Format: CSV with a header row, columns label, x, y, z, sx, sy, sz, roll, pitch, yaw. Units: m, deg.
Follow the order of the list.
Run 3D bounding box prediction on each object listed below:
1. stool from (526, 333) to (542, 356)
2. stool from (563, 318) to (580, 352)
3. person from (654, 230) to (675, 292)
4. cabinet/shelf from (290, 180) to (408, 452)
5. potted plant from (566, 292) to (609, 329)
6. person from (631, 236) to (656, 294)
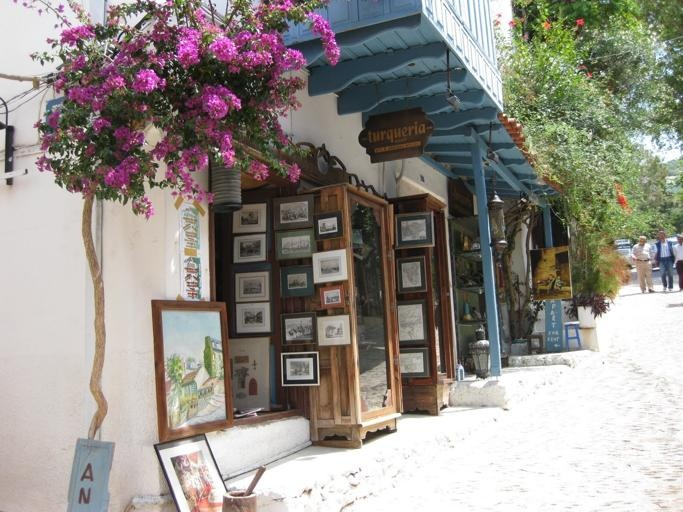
label,x,y,z,sx,sy,sz,roll,pitch,yaw
stool,4.109,1.840,13.023,0.327,0.690,0.349,0,3,21
stool,4.790,1.627,12.773,0.419,0.839,0.436,0,-4,9
person,9.313,0.138,17.765,0.479,1.684,1.797,1,1,28
cabinet/shelf,0.217,0.662,7.211,0.640,2.953,1.255,1,1,40
potted plant,5.145,1.075,12.986,0.686,0.784,0.696,-3,-3,44
person,8.783,0.246,17.932,0.560,1.565,2.800,1,1,27
